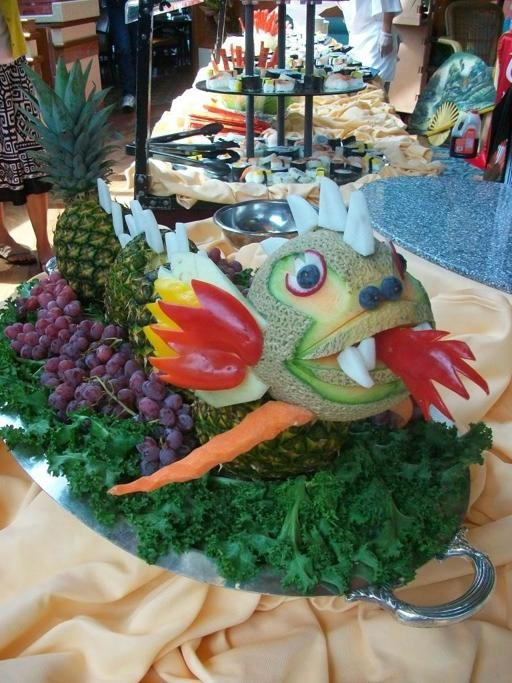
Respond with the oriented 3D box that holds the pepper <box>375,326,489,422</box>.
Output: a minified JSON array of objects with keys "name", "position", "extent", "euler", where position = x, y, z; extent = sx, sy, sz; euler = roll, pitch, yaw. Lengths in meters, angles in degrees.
[{"name":"pepper","position":[0.178,0.033,0.553],"extent":[0.088,0.090,0.097],"euler":[-21,35,-37]}]

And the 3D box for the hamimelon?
[{"name":"hamimelon","position":[0.100,-0.033,0.615],"extent":[0.203,0.190,0.198],"euler":[5,29,40]}]

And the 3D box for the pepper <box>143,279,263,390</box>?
[{"name":"pepper","position":[-0.047,-0.005,0.552],"extent":[0.109,0.098,0.053],"euler":[2,29,0]}]

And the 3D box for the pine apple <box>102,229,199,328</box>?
[{"name":"pine apple","position":[-0.184,-0.098,0.870],"extent":[0.207,0.142,0.172],"euler":[-6,25,-15]}]

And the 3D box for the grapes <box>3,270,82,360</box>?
[{"name":"grapes","position":[-0.333,-0.030,0.993],"extent":[0.094,0.104,0.237],"euler":[40,13,-24]}]

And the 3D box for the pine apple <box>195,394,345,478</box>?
[{"name":"pine apple","position":[0.021,0.092,0.698],"extent":[0.150,0.110,0.121],"euler":[-12,-4,16]}]
